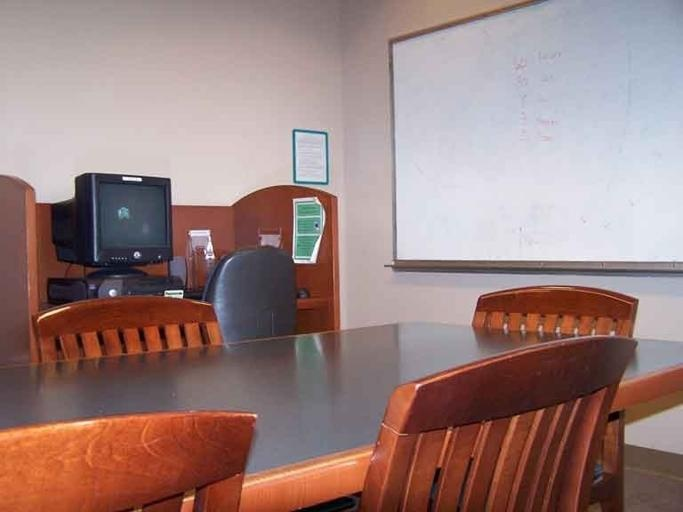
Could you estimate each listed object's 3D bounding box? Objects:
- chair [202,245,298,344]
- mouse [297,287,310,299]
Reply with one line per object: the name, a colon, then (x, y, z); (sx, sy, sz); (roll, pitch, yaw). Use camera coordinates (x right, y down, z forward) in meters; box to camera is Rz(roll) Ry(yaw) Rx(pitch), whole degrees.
chair: (-0.434, 0.157, 2.610); (0.396, 0.566, 0.421); (-2, 2, -36)
mouse: (-0.227, 0.224, 3.247); (0.056, 0.058, 0.053); (0, 1, -28)
